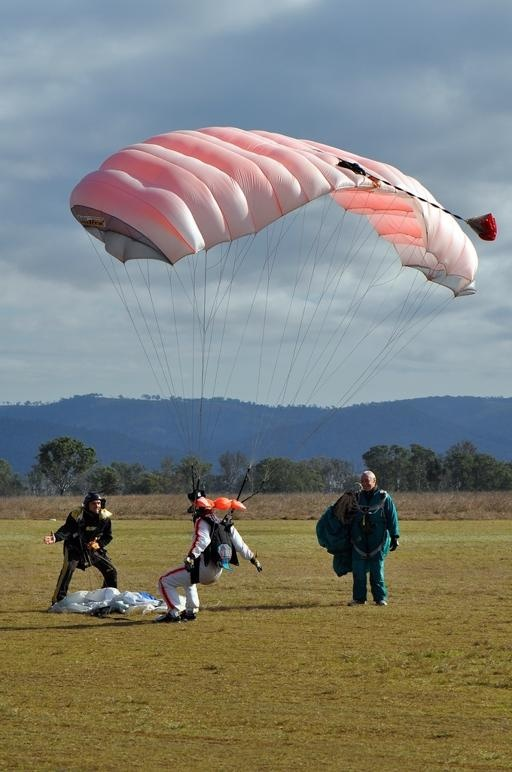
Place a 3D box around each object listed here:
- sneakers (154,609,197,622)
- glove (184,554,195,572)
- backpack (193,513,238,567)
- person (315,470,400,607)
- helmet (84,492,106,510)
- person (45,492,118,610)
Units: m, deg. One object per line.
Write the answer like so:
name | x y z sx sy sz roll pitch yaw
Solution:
sneakers | -0.944 2.655 12.404 0.471 0.173 0.159 3 -6 -5
glove | -0.733 1.975 11.929 0.136 0.173 0.076 5 -5 37
backpack | -0.481 1.789 12.313 0.630 0.699 0.389 10 -26 -34
person | 1.362 1.972 14.068 0.651 1.699 1.078 5 -5 -33
helmet | -2.013 1.429 13.254 0.243 0.266 0.308 -1 9 -10
person | -2.178 2.032 13.321 0.682 1.408 1.094 1 -4 12
